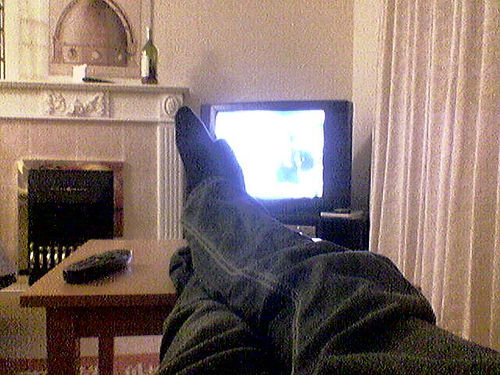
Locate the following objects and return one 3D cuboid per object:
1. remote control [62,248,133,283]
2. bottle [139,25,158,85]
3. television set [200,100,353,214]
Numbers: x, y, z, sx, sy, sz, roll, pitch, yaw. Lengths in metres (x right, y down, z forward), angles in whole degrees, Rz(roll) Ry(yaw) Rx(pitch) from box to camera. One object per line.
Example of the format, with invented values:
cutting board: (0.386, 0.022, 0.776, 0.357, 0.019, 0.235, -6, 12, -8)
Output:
remote control: (-0.274, 0.145, 1.273, 0.123, 0.042, 0.062, -3, 4, -18)
bottle: (-0.369, -0.489, 2.558, 0.069, 0.239, 0.214, -2, 4, -9)
television set: (0.056, -0.064, 1.433, 0.266, 0.262, 0.155, 1, 4, 12)
